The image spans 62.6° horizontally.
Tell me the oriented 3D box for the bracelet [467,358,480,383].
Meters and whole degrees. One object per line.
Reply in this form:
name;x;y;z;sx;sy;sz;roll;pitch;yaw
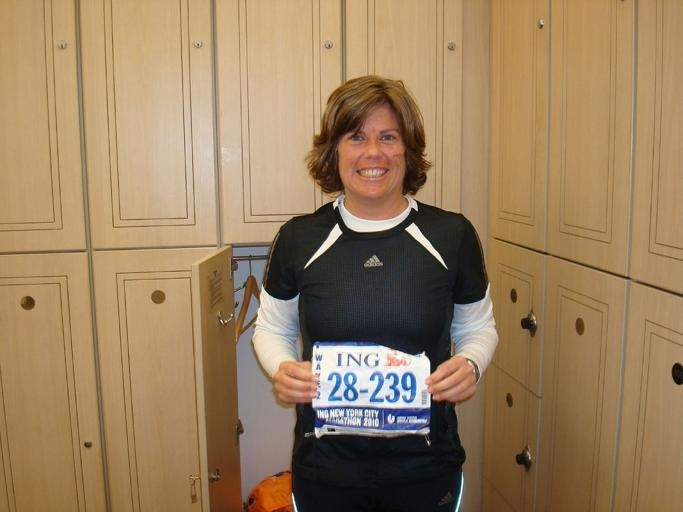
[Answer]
bracelet;0.384;0.337;1.651;0.030;0.048;0.051;-16;-40;5
